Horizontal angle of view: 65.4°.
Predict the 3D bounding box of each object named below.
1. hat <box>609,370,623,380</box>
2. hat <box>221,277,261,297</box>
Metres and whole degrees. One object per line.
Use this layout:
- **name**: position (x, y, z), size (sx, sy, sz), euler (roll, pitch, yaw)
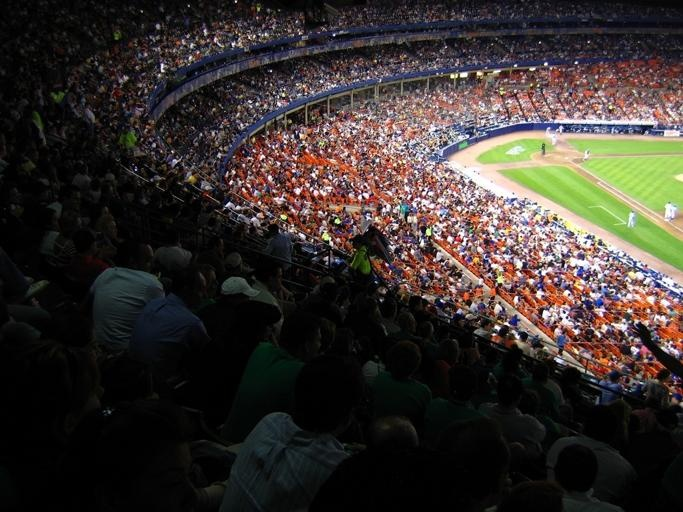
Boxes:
- **hat**: position (7.418, 3.277, 14.543), size (0.243, 0.264, 0.715), euler (17, 0, 28)
- **hat**: position (-1.141, 0.347, 5.901), size (0.314, 0.133, 0.219), euler (3, 17, -23)
